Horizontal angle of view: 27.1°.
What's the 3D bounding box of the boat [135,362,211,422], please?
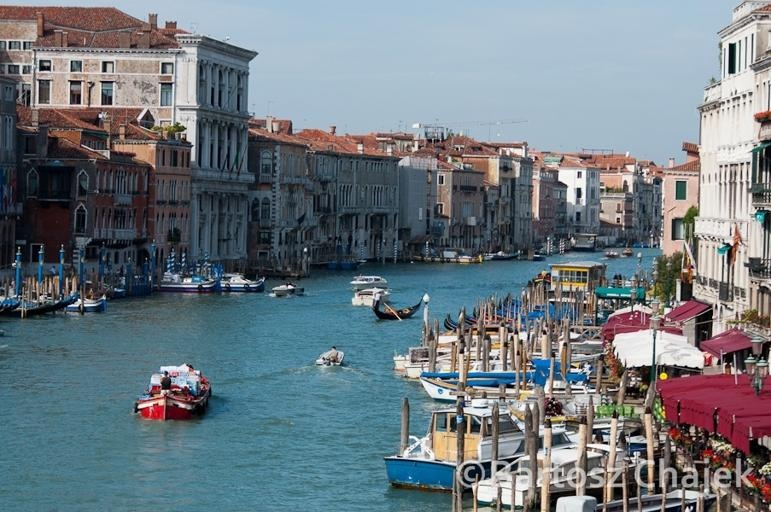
[{"bbox_3d":[-10.648,6.538,78.693,2.861,1.972,5.737,0,12,-1],"label":"boat"}]
